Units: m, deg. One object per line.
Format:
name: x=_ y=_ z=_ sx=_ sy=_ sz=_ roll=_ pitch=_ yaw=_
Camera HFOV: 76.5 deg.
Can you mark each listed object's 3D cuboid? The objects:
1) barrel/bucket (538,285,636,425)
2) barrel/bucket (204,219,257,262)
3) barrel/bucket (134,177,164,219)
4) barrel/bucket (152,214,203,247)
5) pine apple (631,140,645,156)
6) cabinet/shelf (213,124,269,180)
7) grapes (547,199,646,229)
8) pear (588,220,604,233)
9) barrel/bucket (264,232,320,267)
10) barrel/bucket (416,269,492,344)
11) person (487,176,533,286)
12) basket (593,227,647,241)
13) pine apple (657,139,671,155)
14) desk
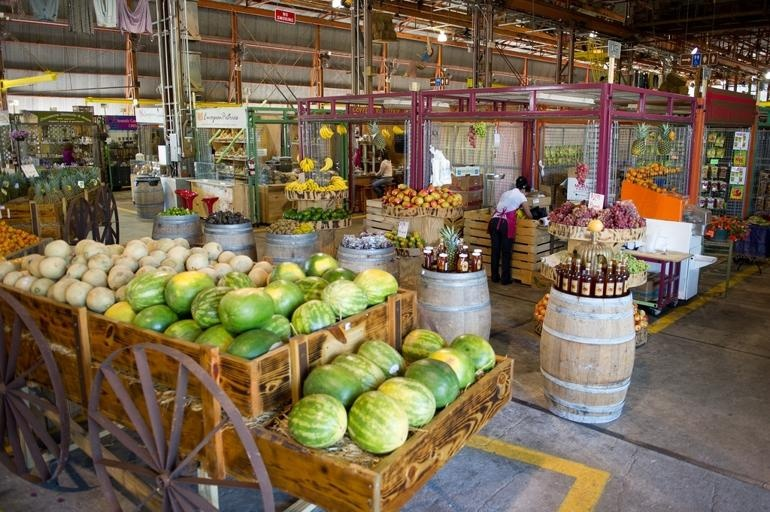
barrel/bucket: x=1.855 y=0.961 z=4.515 sx=0.790 sy=1.262 sz=0.304 roll=3 pitch=16 yaw=17
barrel/bucket: x=-1.991 y=-0.264 z=6.447 sx=0.657 sy=0.654 sz=0.639 roll=0 pitch=6 yaw=0
barrel/bucket: x=-6.244 y=-1.480 z=12.989 sx=0.734 sy=1.151 sz=0.394 roll=-8 pitch=17 yaw=-23
barrel/bucket: x=-2.705 y=-0.324 z=6.362 sx=0.481 sy=0.442 sz=0.468 roll=1 pitch=4 yaw=0
pine apple: x=4.077 y=-1.714 z=7.874 sx=0.184 sy=0.249 sz=0.225 roll=6 pitch=17 yaw=26
cabinet/shelf: x=-3.976 y=-2.805 z=13.539 sx=1.294 sy=1.980 sz=2.481 roll=-4 pitch=11 yaw=-30
grapes: x=2.644 y=-0.533 z=6.234 sx=1.210 sy=0.354 sz=0.834 roll=1 pitch=16 yaw=6
pear: x=2.333 y=-0.303 z=5.427 sx=0.148 sy=0.144 sz=0.146 roll=0 pitch=37 yaw=-9
barrel/bucket: x=-1.247 y=-0.096 z=6.345 sx=0.596 sy=0.575 sz=0.614 roll=2 pitch=6 yaw=0
barrel/bucket: x=0.700 y=0.526 z=5.248 sx=0.757 sy=0.747 sz=0.716 roll=0 pitch=5 yaw=0
person: x=2.099 y=-0.388 z=8.260 sx=0.579 sy=1.752 sz=0.580 roll=-13 pitch=19 yaw=-36
basket: x=2.831 y=-0.243 z=5.809 sx=0.649 sy=0.162 sz=0.122 roll=-7 pitch=16 yaw=-19
pine apple: x=4.762 y=-1.814 z=8.329 sx=0.365 sy=0.260 sz=0.089 roll=-10 pitch=17 yaw=-28
desk: x=3.820 y=0.317 z=7.233 sx=1.008 sy=0.913 sz=0.955 roll=-18 pitch=23 yaw=-41
